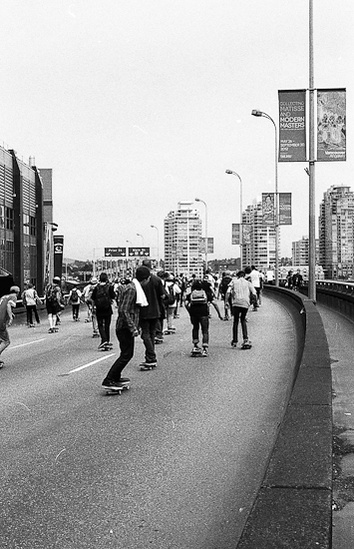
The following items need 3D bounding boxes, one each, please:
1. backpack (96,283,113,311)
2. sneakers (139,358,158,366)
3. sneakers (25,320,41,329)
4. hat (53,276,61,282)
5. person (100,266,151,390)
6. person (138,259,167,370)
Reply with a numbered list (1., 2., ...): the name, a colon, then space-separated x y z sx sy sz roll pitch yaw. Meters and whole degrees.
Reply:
1. backpack: -1.832 0.584 13.465 0.331 0.699 0.378 1 -30 -3
2. sneakers: -0.550 1.655 10.298 0.327 0.219 0.139 4 -6 1
3. sneakers: -6.314 2.215 23.625 0.402 0.259 0.185 1 26 6
4. hat: -4.951 0.198 22.215 0.141 0.232 0.233 3 14 17
5. person: -0.773 0.942 8.084 0.457 1.619 0.949 -1 3 34
6. person: -0.526 0.821 10.544 0.461 2.037 0.477 2 -3 -33
